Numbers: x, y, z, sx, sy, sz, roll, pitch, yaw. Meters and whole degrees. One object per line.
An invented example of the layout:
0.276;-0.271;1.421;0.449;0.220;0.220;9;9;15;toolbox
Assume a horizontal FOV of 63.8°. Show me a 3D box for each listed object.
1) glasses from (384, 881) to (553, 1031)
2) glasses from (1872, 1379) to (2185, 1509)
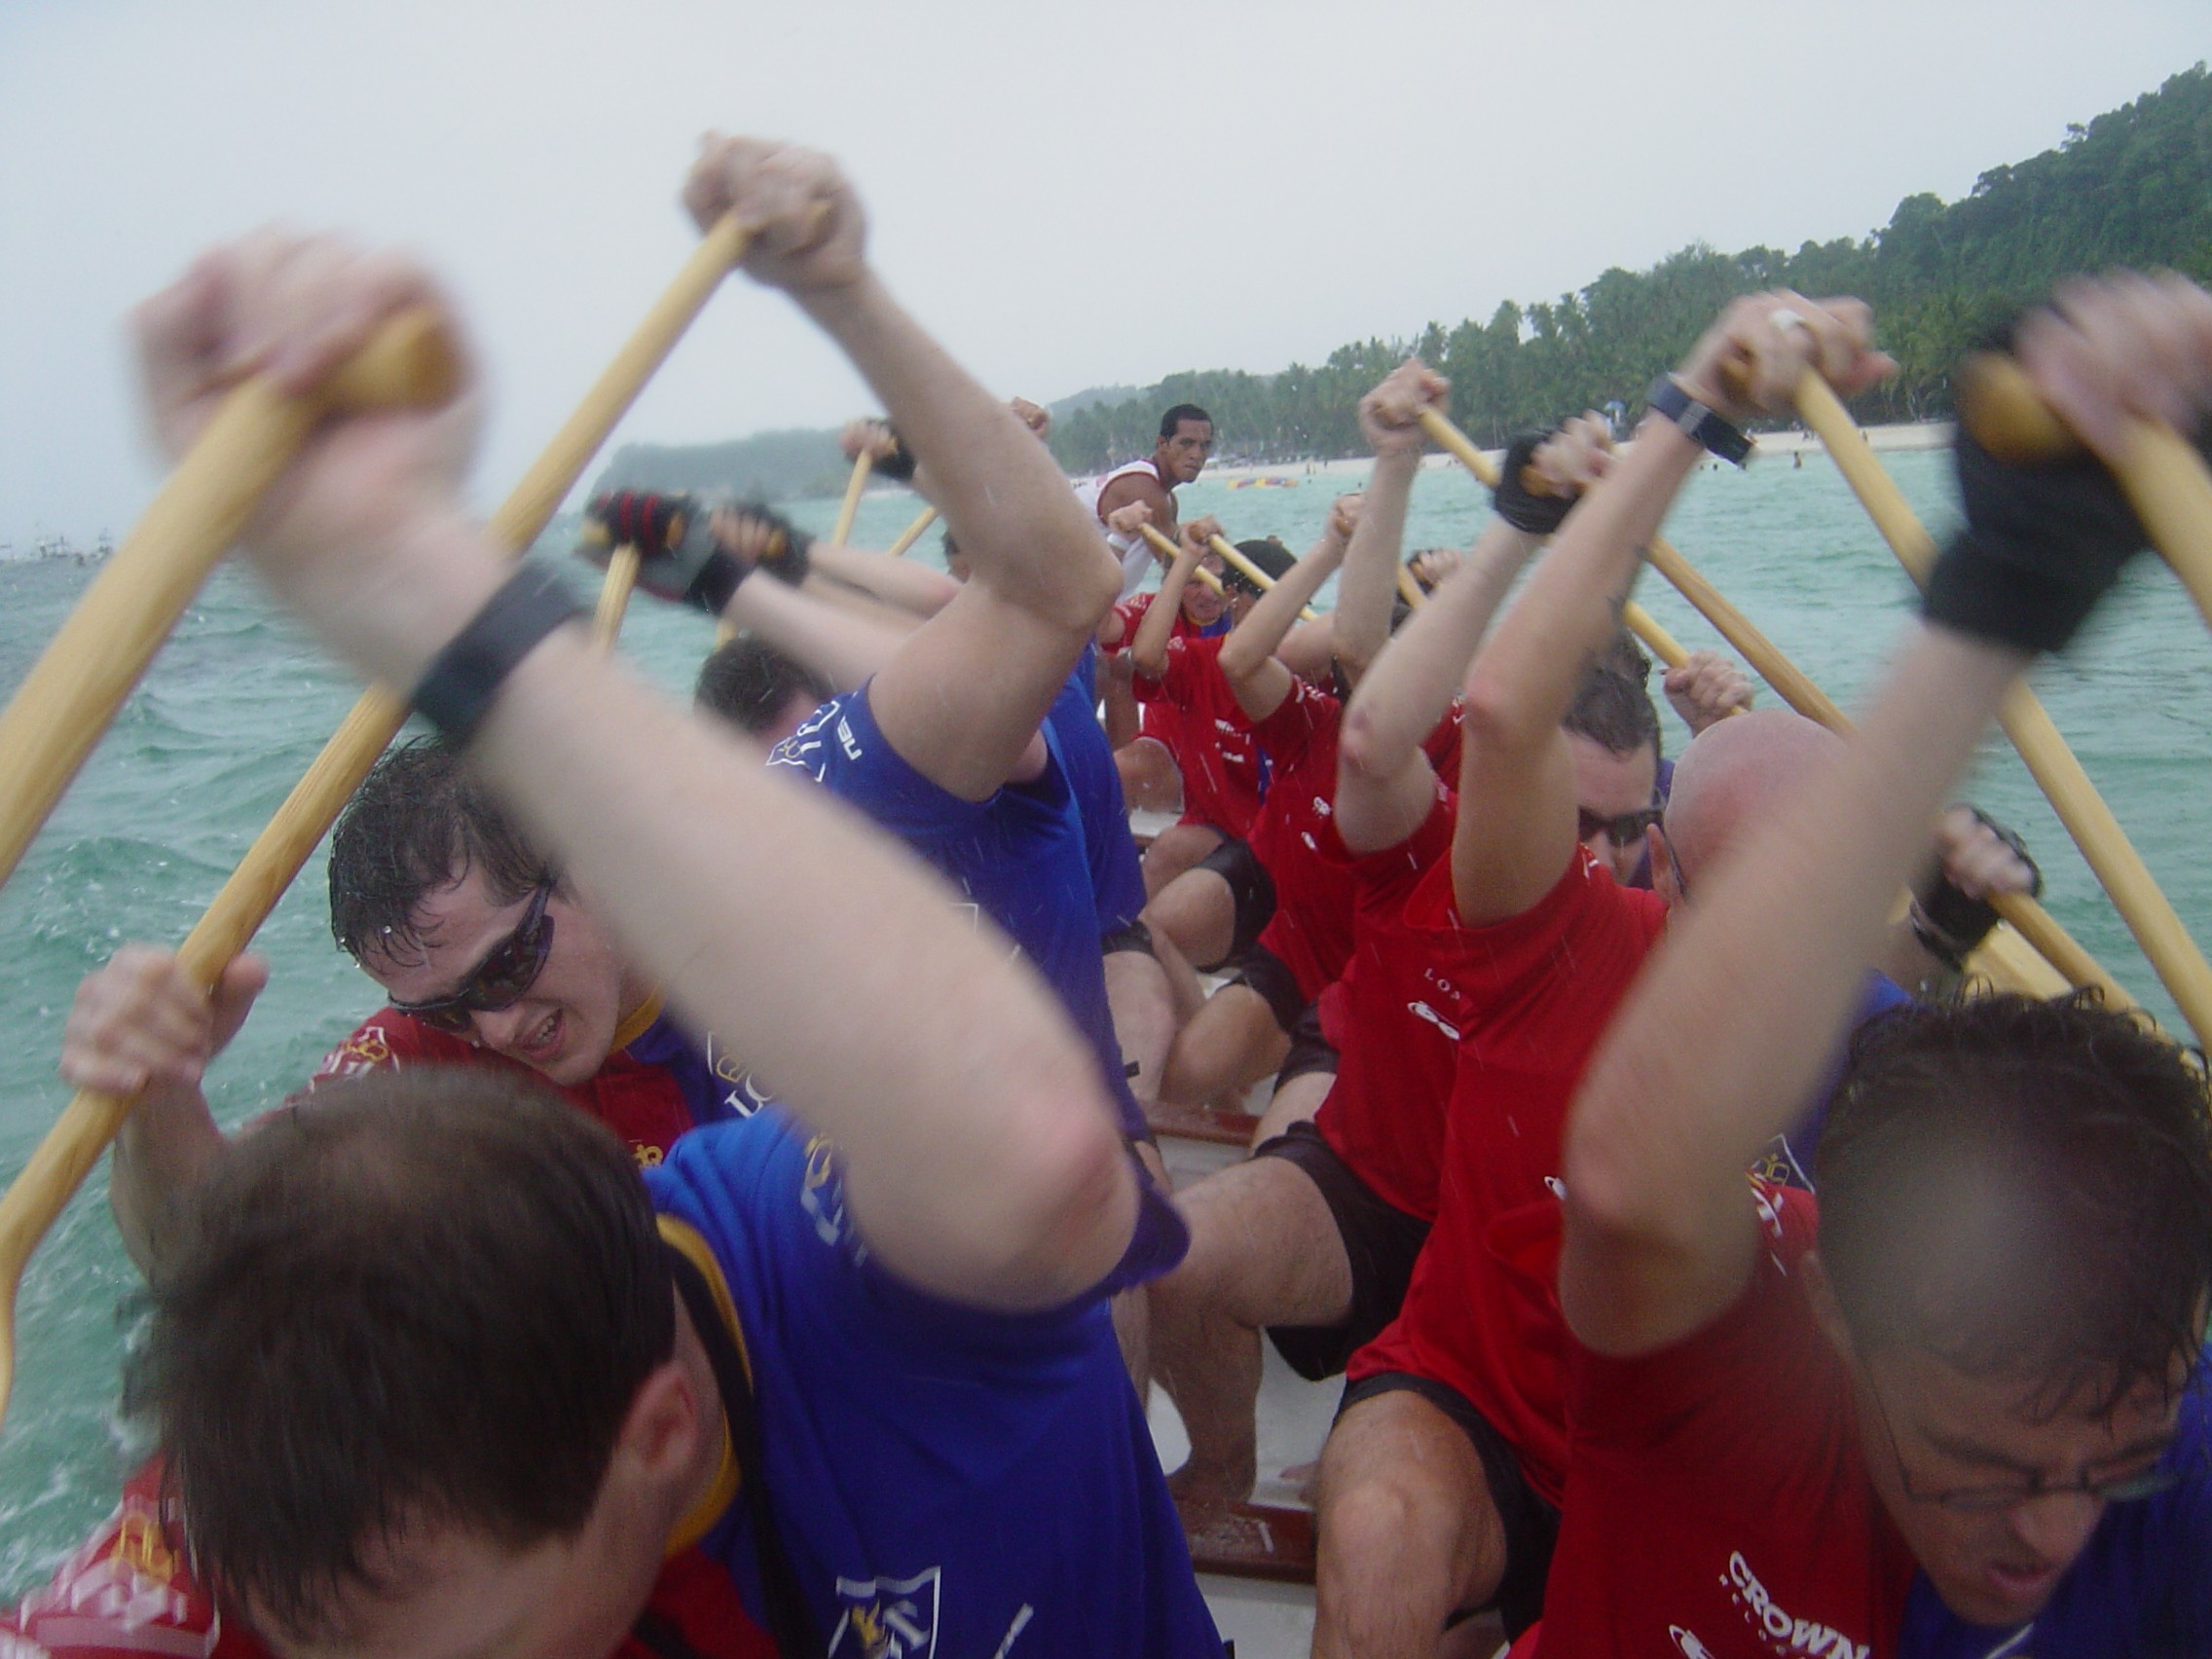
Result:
-1.073;0.237;2.944;0.216;0.082;0.232;-30;48;22;glasses
1.052;0.736;2.084;0.205;0.075;0.232;-11;26;14;glasses
